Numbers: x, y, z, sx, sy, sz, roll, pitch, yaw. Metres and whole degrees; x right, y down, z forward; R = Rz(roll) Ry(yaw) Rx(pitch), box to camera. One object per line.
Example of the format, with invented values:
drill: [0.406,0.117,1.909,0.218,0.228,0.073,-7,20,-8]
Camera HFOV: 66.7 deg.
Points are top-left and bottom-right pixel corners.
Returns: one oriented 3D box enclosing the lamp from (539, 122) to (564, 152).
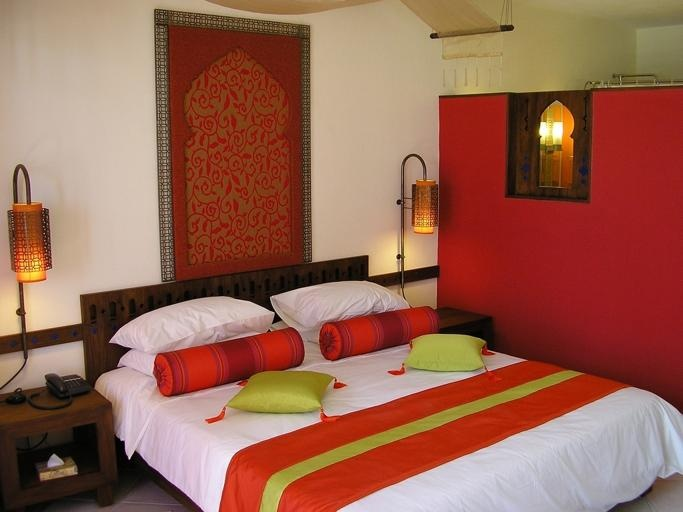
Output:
lamp: [1.816,-1.027,4.466,0.204,0.300,0.217,-5,15,-12]

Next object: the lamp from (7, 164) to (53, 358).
lamp: [-1.929,0.055,3.240,0.234,1.229,0.351,-6,13,-30]

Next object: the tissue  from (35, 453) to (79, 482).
tissue : [-1.710,1.241,3.130,0.142,0.098,0.144,-1,3,-25]

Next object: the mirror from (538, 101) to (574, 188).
mirror: [1.849,-0.941,4.437,0.052,0.713,0.324,-7,14,-36]
